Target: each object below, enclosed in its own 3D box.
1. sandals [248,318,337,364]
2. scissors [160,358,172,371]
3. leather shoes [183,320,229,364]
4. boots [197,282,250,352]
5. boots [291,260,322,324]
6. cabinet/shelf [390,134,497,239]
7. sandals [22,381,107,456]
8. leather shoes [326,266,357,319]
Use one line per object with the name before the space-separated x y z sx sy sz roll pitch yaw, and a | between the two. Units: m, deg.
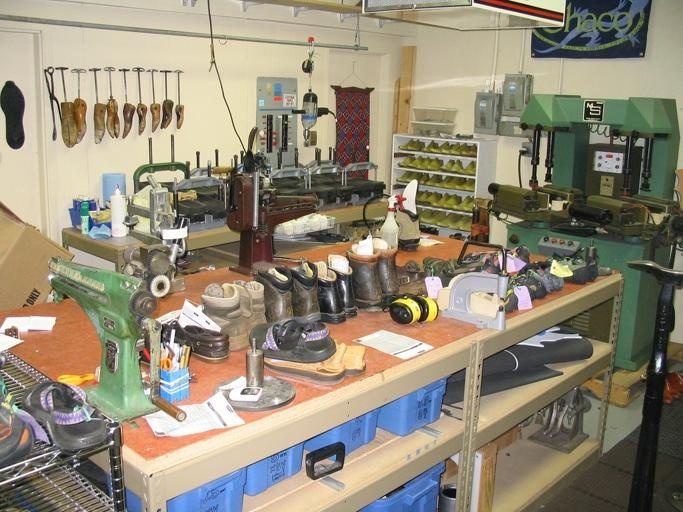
sandals | -0.181 0.302 1.894 0.258 0.098 0.162 4 24 6
scissors | -0.554 0.342 1.661 0.033 0.040 0.014 0 3 3
leather shoes | -0.504 0.320 1.949 0.222 0.077 0.086 11 18 39
boots | -0.465 0.205 2.040 0.118 0.217 0.324 -20 35 -32
boots | -0.187 0.161 2.348 0.130 0.242 0.355 -3 -1 -22
cabinet/shelf | 1.209 -0.803 5.871 1.153 1.295 0.460 20 23 38
sandals | -0.689 0.368 1.298 0.128 0.063 0.218 -18 38 -39
leather shoes | -0.030 0.161 2.372 0.099 0.167 0.245 -10 27 -19
